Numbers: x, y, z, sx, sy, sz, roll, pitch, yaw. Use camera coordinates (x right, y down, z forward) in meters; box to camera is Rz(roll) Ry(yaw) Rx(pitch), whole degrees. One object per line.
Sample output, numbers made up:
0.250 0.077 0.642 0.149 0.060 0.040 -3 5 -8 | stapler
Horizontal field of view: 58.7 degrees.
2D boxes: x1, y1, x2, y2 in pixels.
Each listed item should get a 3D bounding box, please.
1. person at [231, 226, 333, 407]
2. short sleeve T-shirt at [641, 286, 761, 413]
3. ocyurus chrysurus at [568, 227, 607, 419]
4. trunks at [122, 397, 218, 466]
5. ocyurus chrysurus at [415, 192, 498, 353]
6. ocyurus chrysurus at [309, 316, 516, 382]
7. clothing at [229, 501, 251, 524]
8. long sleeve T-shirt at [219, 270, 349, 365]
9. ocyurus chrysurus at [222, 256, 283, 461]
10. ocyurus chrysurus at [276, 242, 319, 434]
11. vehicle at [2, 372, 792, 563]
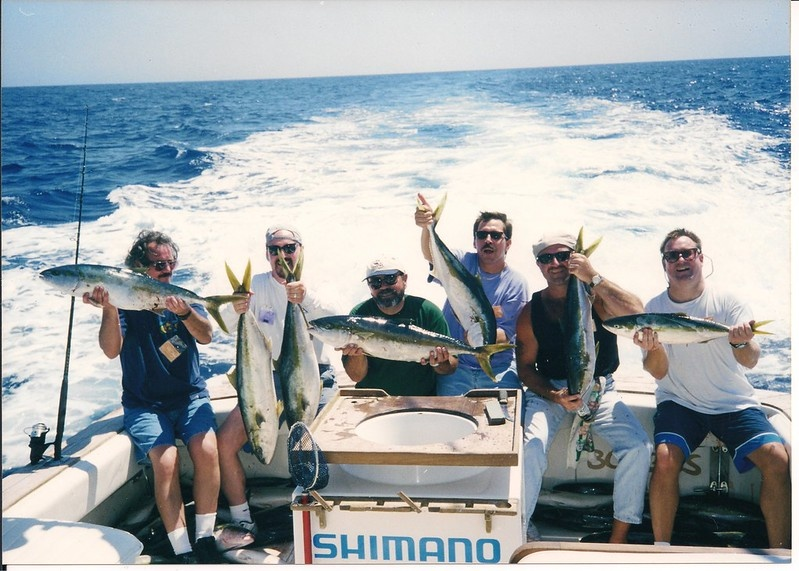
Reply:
-0.979 0.187 6.215 0.855 1.614 0.663 -3 20 -4 | person
2.429 0.536 5.737 0.896 0.972 0.571 -15 1 16 | short sleeve T-shirt
1.501 0.324 5.663 0.444 1.421 0.257 4 -3 -33 | ocyurus chrysurus
-1.883 1.137 5.877 0.574 0.206 0.535 -11 30 -26 | trunks
0.653 0.082 6.093 0.594 0.352 1.775 33 33 -14 | ocyurus chrysurus
0.108 0.524 5.846 1.514 0.337 0.353 10 -10 -1 | ocyurus chrysurus
-1.285 1.847 5.849 0.127 0.183 0.184 -9 9 -13 | clothing
-1.159 0.226 6.162 0.910 0.844 0.271 8 9 14 | long sleeve T-shirt
-1.308 0.604 5.559 0.400 1.536 0.629 -7 5 6 | ocyurus chrysurus
-0.762 0.473 5.525 0.368 1.266 0.519 -2 0 -6 | ocyurus chrysurus
-0.032 1.526 5.370 5.786 1.466 1.787 1 6 -2 | vehicle
